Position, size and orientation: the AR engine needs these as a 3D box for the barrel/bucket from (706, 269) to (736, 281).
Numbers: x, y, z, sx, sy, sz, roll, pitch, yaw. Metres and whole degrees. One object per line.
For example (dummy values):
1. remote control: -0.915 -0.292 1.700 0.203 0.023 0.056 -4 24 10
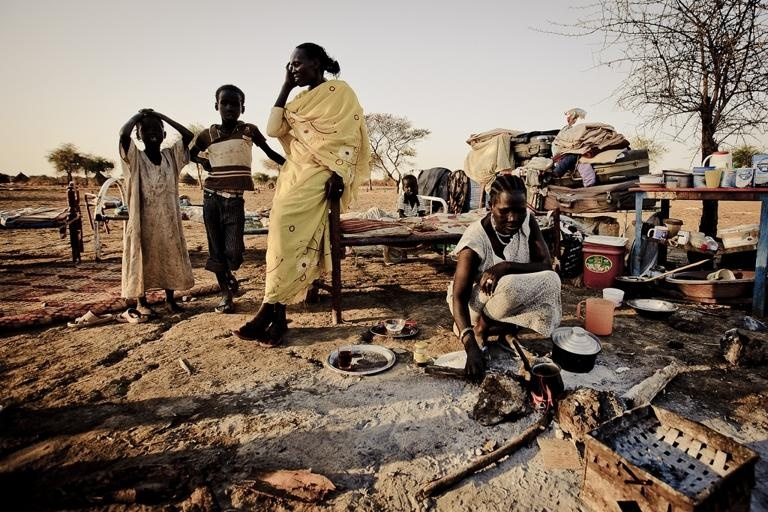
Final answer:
1. barrel/bucket: 3.998 0.219 4.945 0.234 0.173 0.176 4 5 24

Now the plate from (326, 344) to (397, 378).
1. plate: -0.207 0.926 3.719 0.625 0.053 0.577 -11 15 -43

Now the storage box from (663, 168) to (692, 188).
1. storage box: 3.504 -0.912 4.980 0.308 0.207 0.236 3 9 29

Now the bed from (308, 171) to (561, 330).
1. bed: 0.976 0.066 3.697 0.760 1.440 0.902 -2 3 -32

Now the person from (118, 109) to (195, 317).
1. person: -2.453 -0.479 4.615 0.888 2.096 0.524 -1 -3 7

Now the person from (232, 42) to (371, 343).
1. person: -0.744 -0.711 4.279 1.243 2.978 1.163 2 -1 20

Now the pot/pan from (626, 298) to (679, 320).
1. pot/pan: 2.953 0.566 4.583 0.301 0.055 0.291 -10 13 -40

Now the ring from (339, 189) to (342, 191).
1. ring: -0.447 -0.672 4.262 0.031 0.018 0.019 0 6 -9

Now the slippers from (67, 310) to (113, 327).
1. slippers: -3.194 0.664 4.512 0.173 0.105 0.346 -1 0 43

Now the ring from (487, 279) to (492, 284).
1. ring: 0.893 0.216 3.541 0.036 0.014 0.041 6 22 23

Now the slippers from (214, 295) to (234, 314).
1. slippers: -1.847 0.572 4.879 0.139 0.118 0.303 0 -5 6

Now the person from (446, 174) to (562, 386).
1. person: 0.944 0.138 3.758 1.129 1.580 1.370 14 27 41

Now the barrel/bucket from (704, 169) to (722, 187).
1. barrel/bucket: 3.764 -0.877 4.767 0.143 0.204 0.099 -5 9 -24

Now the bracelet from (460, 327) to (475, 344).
1. bracelet: 0.685 0.645 3.448 0.106 0.133 0.126 -1 8 3

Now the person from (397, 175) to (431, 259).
1. person: 0.462 -0.765 7.134 0.594 1.167 0.726 -1 4 -5

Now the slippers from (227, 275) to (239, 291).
1. slippers: -1.929 0.344 5.269 0.081 0.208 0.144 -10 38 -34

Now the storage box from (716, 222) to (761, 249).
1. storage box: 4.456 -0.236 5.163 0.487 0.141 0.436 -2 16 4

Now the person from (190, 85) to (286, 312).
1. person: -1.605 -0.650 4.792 1.582 2.456 0.807 3 4 8
